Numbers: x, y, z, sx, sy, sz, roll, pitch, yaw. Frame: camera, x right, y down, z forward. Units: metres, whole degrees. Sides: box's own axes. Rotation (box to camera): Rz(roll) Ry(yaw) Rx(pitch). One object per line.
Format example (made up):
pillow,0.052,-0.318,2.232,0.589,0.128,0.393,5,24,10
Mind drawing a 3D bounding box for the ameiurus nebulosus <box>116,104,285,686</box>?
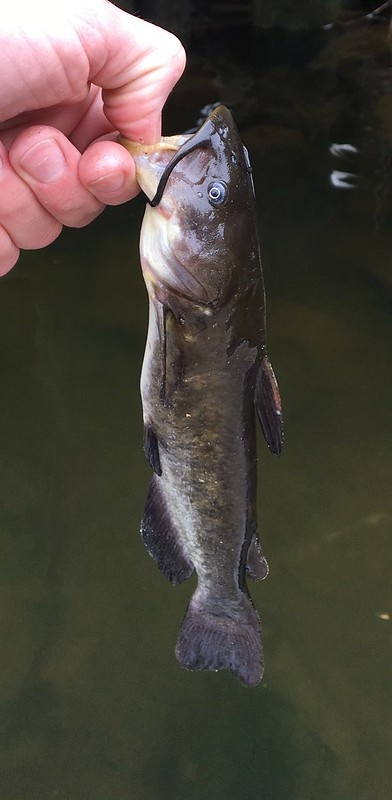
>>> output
ameiurus nebulosus,0.050,0.042,1.837,0.484,1.413,0.307,5,16,16
